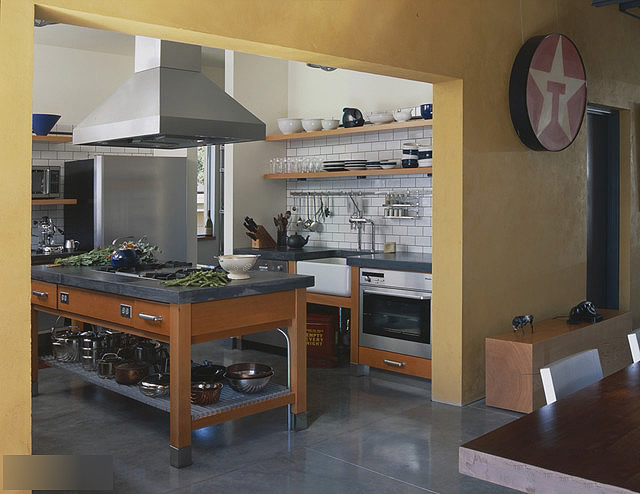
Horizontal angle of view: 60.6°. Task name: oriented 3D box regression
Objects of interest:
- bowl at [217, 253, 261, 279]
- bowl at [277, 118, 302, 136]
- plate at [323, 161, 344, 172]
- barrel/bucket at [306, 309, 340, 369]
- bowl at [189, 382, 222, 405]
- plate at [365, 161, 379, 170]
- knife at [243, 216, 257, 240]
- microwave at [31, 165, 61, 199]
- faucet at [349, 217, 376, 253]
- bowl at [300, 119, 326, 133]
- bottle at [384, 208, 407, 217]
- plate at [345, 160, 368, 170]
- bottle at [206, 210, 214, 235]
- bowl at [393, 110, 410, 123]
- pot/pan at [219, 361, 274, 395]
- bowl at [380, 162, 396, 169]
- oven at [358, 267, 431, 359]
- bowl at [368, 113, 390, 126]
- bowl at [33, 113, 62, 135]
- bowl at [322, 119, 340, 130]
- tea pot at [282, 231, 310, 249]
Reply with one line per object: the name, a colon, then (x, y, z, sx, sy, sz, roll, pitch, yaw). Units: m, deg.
bowl: (-0.586, 0.141, 4.003, 0.276, 0.102, 0.189, 0, -2, -40)
bowl: (-0.359, -1.456, 6.659, 0.251, 0.133, 0.241, -1, 3, 0)
plate: (0.151, -0.907, 6.278, 0.308, 0.126, 0.117, 4, 7, 41)
barrel/bucket: (0.065, 1.016, 5.855, 0.407, 0.505, 0.369, -4, -15, 8)
bowl: (-0.780, 1.012, 3.793, 0.146, 0.101, 0.181, -7, -14, 41)
plate: (0.577, -0.889, 6.014, 0.161, 0.086, 0.086, 1, 5, 16)
knife: (-0.811, -0.219, 6.575, 0.177, 0.257, 0.070, 29, 24, 7)
microwave: (-3.268, -0.780, 6.705, 0.446, 0.366, 0.290, 2, 4, 9)
faucet: (0.479, -0.140, 6.396, 0.408, 0.386, 0.263, 2, 6, 27)
bowl: (-0.090, -1.401, 6.532, 0.192, 0.103, 0.189, 1, 4, 0)
bottle: (0.837, -0.375, 6.094, 0.280, 0.111, 0.105, 3, 6, 34)
plate: (0.403, -0.912, 6.131, 0.241, 0.121, 0.178, 0, 5, 3)
bottle: (-1.838, -0.390, 9.263, 0.145, 0.392, 0.456, -1, 5, -12)
bowl: (0.862, -1.343, 5.734, 0.166, 0.103, 0.165, 0, 4, 0)
pot/pan: (-0.543, 0.993, 4.184, 0.343, 0.145, 0.437, -2, 5, -19)
bowl: (0.731, -0.872, 5.901, 0.113, 0.044, 0.108, 0, 1, 0)
oven: (0.885, 0.625, 5.298, 0.653, 0.772, 0.910, 3, -1, -39)
bowl: (0.657, -1.375, 5.951, 0.259, 0.141, 0.302, 0, 5, 6)
bowl: (-3.289, -1.474, 6.667, 0.277, 0.296, 0.284, 0, 5, 0)
bowl: (0.129, -1.413, 6.410, 0.221, 0.103, 0.205, 0, -2, 0)
tea pot: (-0.271, -0.070, 6.572, 0.255, 0.126, 0.183, -4, 3, -5)
